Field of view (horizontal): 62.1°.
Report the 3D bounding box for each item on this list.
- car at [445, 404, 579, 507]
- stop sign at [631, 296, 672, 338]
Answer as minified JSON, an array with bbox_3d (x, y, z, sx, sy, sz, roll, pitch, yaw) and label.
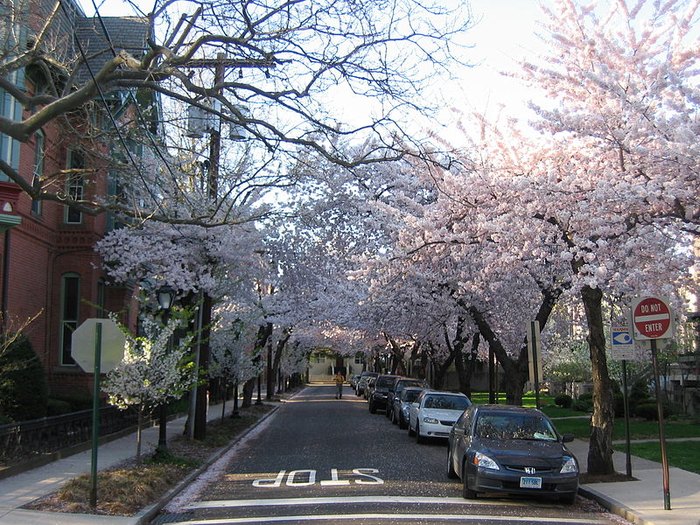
[{"bbox_3d":[3.336,3.890,12.026,2.398,1.976,2.372,-6,-14,14],"label":"car"},{"bbox_3d":[5.928,1.058,11.373,0.676,0.863,0.098,-7,-6,45],"label":"stop sign"}]
